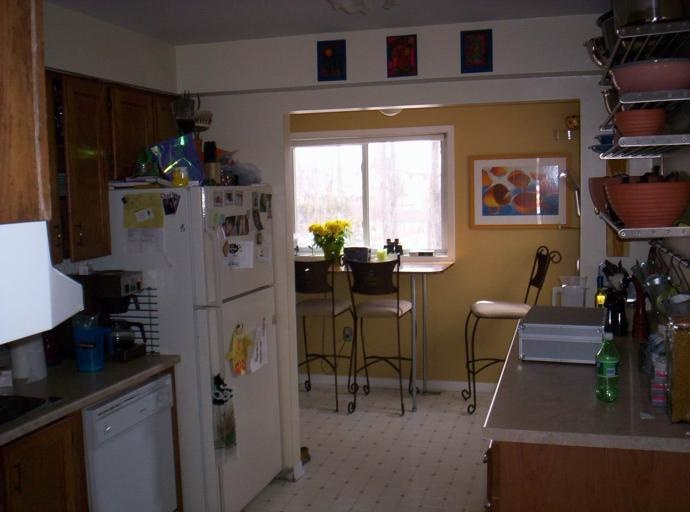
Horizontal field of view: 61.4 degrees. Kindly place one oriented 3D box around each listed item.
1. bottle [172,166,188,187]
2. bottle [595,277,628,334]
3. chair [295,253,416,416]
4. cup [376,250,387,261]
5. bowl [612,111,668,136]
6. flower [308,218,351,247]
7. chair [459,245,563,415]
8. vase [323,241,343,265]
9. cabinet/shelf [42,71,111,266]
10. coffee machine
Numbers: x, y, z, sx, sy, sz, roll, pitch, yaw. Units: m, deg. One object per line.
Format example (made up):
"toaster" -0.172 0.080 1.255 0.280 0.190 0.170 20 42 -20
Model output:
"bottle" -0.892 -0.434 3.139 0.088 0.095 0.091 -3 6 -23
"bottle" 1.356 0.252 2.928 0.143 0.262 0.416 1 7 24
"chair" 0.140 0.680 5.119 1.073 1.528 0.777 2 6 22
"cup" 0.344 -0.011 5.332 0.079 0.099 0.084 2 2 0
"bowl" 0.997 -0.450 1.947 0.105 0.062 0.113 0 -1 0
"flower" -0.162 -0.220 5.386 0.273 0.190 0.275 -3 2 -32
"chair" 1.348 0.601 4.803 0.812 1.306 0.827 0 6 20
"vase" -0.101 -0.035 5.306 0.188 0.216 0.201 -3 4 -34
"cabinet/shelf" -1.368 -0.467 3.037 0.135 0.946 0.410 1 6 26
"coffee machine" -1.175 0.298 3.039 0.249 0.438 0.248 -4 6 -25
